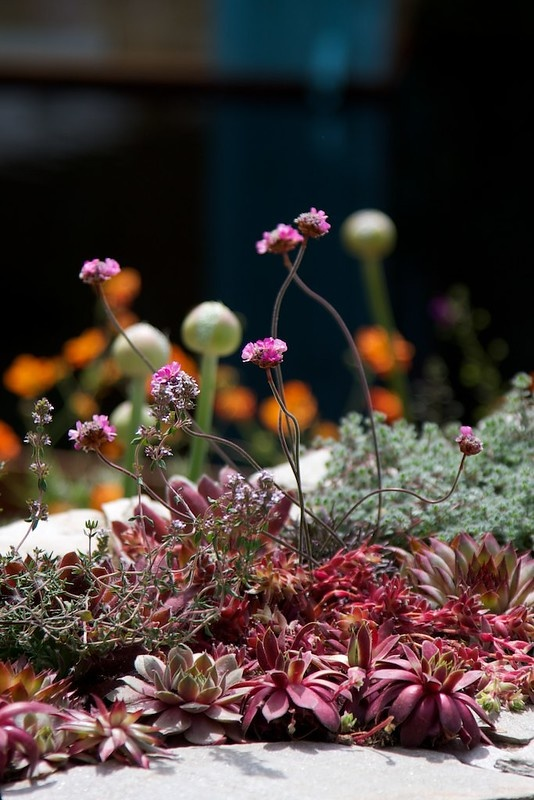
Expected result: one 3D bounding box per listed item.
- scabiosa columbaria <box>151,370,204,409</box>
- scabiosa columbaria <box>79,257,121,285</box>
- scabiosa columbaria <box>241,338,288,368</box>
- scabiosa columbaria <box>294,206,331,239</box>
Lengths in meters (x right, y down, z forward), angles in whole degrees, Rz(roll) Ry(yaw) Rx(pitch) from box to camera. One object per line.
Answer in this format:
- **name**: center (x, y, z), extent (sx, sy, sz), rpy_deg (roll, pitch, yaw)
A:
- **scabiosa columbaria**: center (-0.156, -0.016, 1.538), extent (0.077, 0.066, 0.062), rpy_deg (-14, 9, -9)
- **scabiosa columbaria**: center (-0.298, -0.239, 1.621), extent (0.062, 0.035, 0.066), rpy_deg (7, 18, 36)
- **scabiosa columbaria**: center (-0.003, -0.081, 1.559), extent (0.066, 0.036, 0.060), rpy_deg (-5, -1, -39)
- **scabiosa columbaria**: center (0.086, -0.341, 1.706), extent (0.082, 0.070, 0.048), rpy_deg (-6, -25, -4)
